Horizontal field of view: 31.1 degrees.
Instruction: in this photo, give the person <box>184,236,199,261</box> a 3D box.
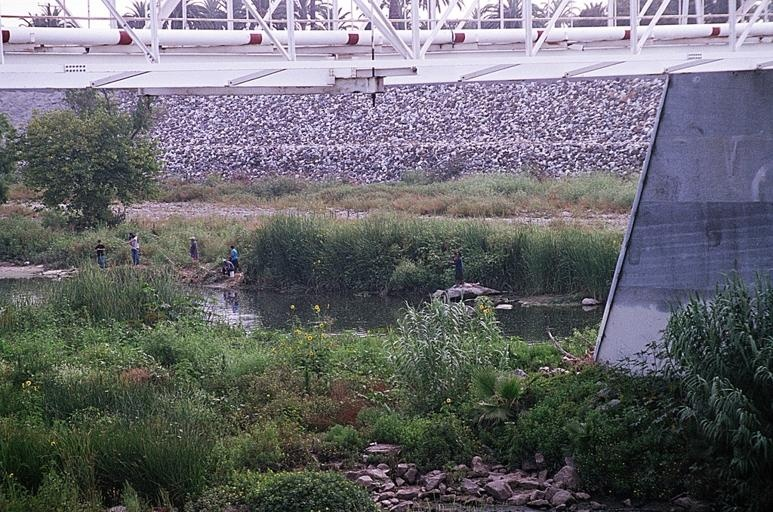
[{"bbox_3d":[-7.603,-0.230,53.791,0.371,1.260,0.484,14,22,22],"label":"person"}]
